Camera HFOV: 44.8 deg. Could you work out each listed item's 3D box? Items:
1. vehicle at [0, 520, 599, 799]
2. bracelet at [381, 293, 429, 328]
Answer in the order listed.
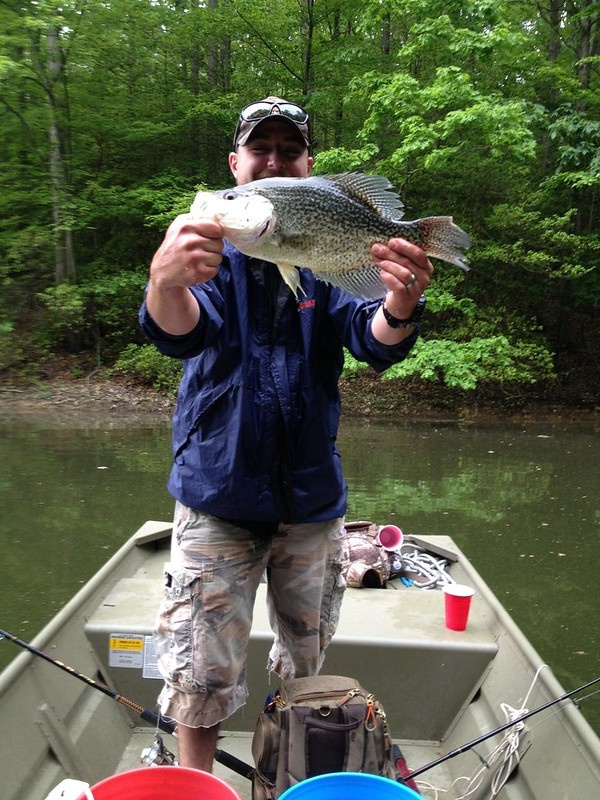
[{"bbox_3d":[0.005,1.077,2.978,1.705,0.396,2.234,0,-2,0],"label":"vehicle"},{"bbox_3d":[0.314,-0.269,2.188,0.107,0.042,0.110,5,-7,-6],"label":"bracelet"}]
